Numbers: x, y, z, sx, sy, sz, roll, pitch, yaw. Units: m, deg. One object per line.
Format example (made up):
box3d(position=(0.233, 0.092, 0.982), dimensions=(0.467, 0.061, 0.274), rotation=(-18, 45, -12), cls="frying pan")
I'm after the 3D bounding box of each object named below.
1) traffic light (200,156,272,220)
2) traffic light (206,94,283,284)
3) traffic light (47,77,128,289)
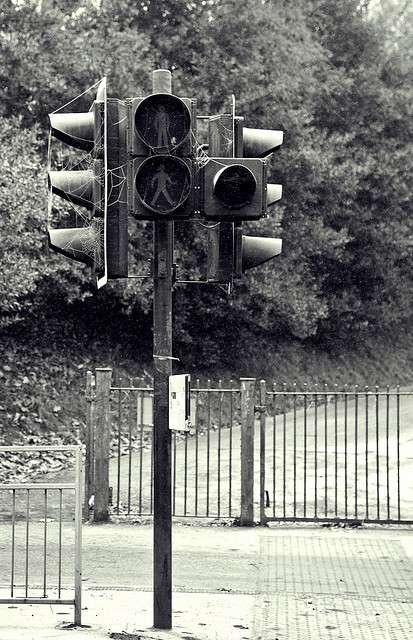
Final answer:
box3d(position=(0.275, -1.405, 17.612), dimensions=(0.869, 1.088, 0.519), rotation=(-1, -1, -5), cls="traffic light")
box3d(position=(0.380, -0.998, 17.997), dimensions=(0.748, 0.439, 1.738), rotation=(-9, 46, -2), cls="traffic light")
box3d(position=(-1.209, -1.337, 17.599), dimensions=(0.716, 2.027, 0.808), rotation=(0, -4, 16), cls="traffic light")
